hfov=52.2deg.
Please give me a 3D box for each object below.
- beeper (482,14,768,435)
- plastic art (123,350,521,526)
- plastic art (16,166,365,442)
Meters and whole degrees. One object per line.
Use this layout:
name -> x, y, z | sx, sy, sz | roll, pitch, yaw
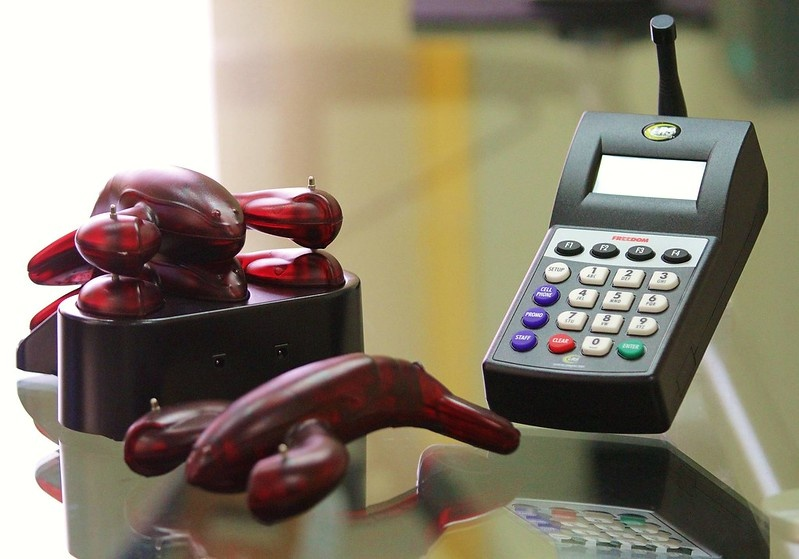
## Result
beeper -> 0.141, -0.054, 0.593 | 0.136, 0.178, 0.290 | 9, 48, 33
plastic art -> -0.052, 0.079, 0.459 | 0.174, 0.058, 0.101 | -14, 18, -36
plastic art -> -0.168, -0.006, 0.604 | 0.201, 0.145, 0.233 | 13, 16, 43
